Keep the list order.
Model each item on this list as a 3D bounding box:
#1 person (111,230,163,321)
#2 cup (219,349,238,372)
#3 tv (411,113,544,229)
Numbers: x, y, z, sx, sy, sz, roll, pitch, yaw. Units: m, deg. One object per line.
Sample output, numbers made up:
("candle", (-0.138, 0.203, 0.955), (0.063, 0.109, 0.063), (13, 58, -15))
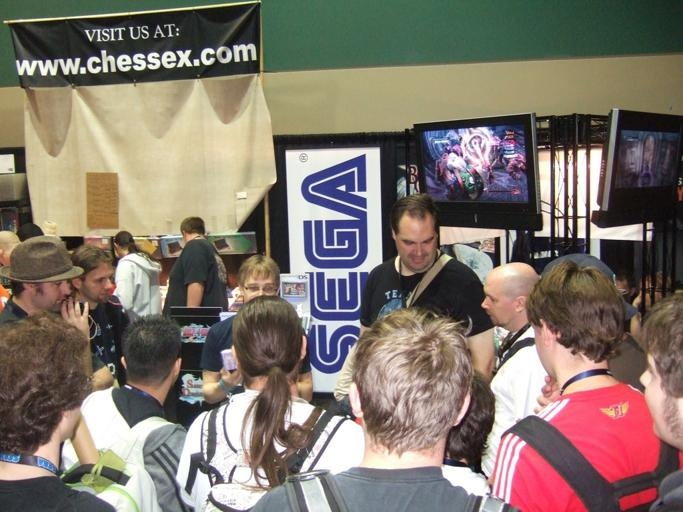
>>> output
("person", (-1.727, 0.168, 6.334), (0.283, 0.866, 0.458), (11, 21, 29))
("cup", (-0.612, 0.573, 4.116), (0.084, 0.154, 0.335), (-1, 2, -9))
("tv", (0.938, -0.565, 5.209), (0.848, 0.810, 0.088), (2, 11, 41))
